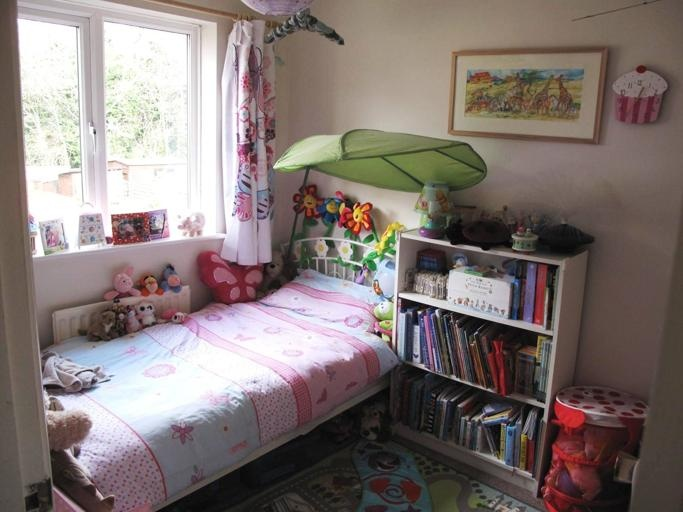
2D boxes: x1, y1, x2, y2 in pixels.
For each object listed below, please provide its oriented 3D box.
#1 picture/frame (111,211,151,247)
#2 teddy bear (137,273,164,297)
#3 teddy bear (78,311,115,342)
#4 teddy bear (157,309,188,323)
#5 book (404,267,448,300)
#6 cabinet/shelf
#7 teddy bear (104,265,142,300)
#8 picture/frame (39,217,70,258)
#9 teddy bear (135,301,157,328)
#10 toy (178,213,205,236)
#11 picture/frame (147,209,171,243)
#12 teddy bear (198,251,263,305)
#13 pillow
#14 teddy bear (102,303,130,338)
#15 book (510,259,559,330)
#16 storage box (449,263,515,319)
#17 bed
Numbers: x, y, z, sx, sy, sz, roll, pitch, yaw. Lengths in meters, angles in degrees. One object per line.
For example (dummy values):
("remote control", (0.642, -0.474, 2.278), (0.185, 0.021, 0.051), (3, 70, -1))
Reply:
("picture/frame", (-1.290, -0.162, 3.121), (0.035, 0.200, 0.202), (4, 8, 40))
("teddy bear", (-1.168, 0.175, 3.136), (0.127, 0.122, 0.130), (0, -1, 39))
("teddy bear", (-1.346, 0.388, 2.870), (0.138, 0.153, 0.190), (31, 23, 32))
("teddy bear", (-1.028, 0.367, 3.123), (0.105, 0.038, 0.103), (-4, 5, -43))
("book", (0.486, 0.160, 2.885), (0.187, 0.070, 0.170), (11, 9, 38))
("cabinet/shelf", (0.790, 0.561, 2.670), (1.101, 1.627, 0.410), (13, 10, 43))
("teddy bear", (-1.310, 0.157, 3.038), (0.116, 0.252, 0.173), (4, 9, 42))
("picture/frame", (-1.591, -0.110, 2.840), (0.158, 0.188, 0.022), (-8, 3, 14))
("teddy bear", (-1.176, 0.348, 3.060), (0.096, 0.172, 0.129), (-17, -11, 41))
("toy", (-0.994, -0.209, 3.382), (0.175, 0.162, 0.041), (-6, 15, -25))
("picture/frame", (-1.164, -0.190, 3.249), (0.032, 0.242, 0.203), (-1, 3, 33))
("teddy bear", (-0.727, 0.179, 3.497), (0.494, 0.387, 0.140), (1, -23, -34))
("pillow", (-0.754, 0.114, 3.427), (0.107, 0.338, 0.398), (-19, -9, 34))
("teddy bear", (-1.283, 0.380, 3.000), (0.142, 0.219, 0.156), (3, 17, 7))
("book", (0.933, 0.159, 2.623), (0.268, 0.387, 0.269), (11, 13, 18))
("storage box", (0.764, 0.169, 2.721), (0.345, 0.218, 0.191), (11, 20, 38))
("bed", (-0.892, 0.520, 2.664), (1.325, 0.573, 1.393), (21, 28, 40))
